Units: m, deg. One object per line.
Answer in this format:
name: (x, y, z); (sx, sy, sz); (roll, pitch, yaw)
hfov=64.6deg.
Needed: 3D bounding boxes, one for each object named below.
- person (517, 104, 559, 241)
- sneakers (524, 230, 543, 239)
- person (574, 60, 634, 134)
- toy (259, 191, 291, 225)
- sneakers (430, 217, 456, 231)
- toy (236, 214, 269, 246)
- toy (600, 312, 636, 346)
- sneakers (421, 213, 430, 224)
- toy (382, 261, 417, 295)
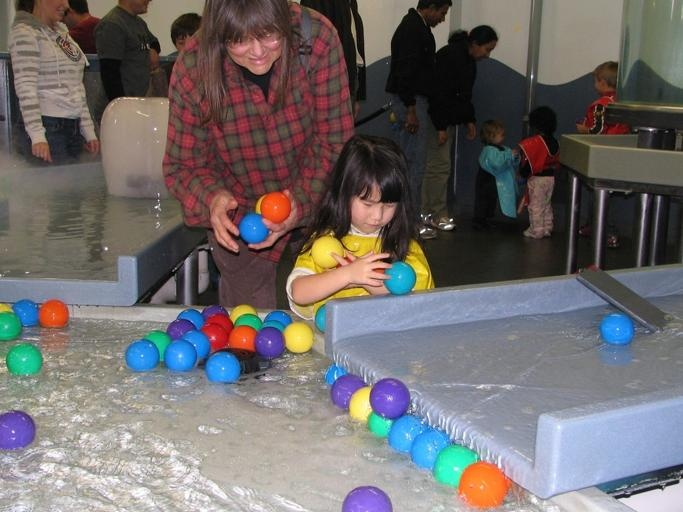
person: (2.078, -0.896, 5.729); (0.396, 1.318, 0.878); (4, 13, 21)
sneakers: (1.962, -0.215, 5.521); (0.186, 0.073, 0.146); (5, 13, 23)
person: (2.381, -1.457, 4.900); (0.399, 0.703, 1.300); (5, 13, 23)
toy: (-0.214, -0.157, 1.761); (0.095, 0.102, 0.114); (4, 5, -7)
sneakers: (1.102, -0.346, 5.857); (0.128, 0.107, 0.254); (-6, 9, -31)
toy: (-0.290, -0.083, 1.813); (0.090, 0.113, 0.095); (-1, 55, -4)
toy: (0.705, 0.189, 1.419); (0.076, 0.079, 0.077); (-24, -19, 2)
sneakers: (0.908, -0.394, 5.849); (0.107, 0.086, 0.113); (2, 2, 3)
toy: (0.162, 0.063, 1.484); (0.077, 0.095, 0.080); (5, 4, -1)
